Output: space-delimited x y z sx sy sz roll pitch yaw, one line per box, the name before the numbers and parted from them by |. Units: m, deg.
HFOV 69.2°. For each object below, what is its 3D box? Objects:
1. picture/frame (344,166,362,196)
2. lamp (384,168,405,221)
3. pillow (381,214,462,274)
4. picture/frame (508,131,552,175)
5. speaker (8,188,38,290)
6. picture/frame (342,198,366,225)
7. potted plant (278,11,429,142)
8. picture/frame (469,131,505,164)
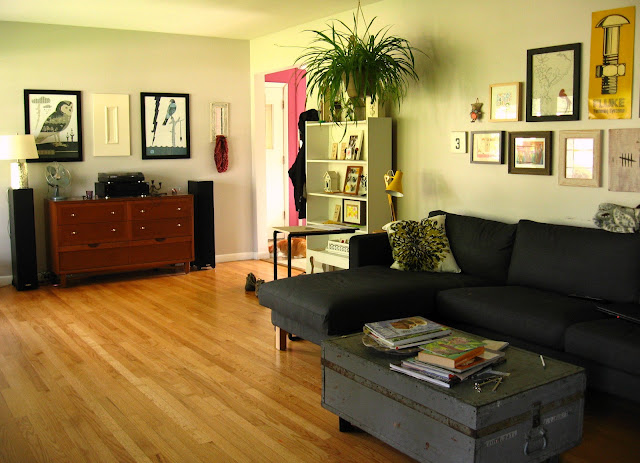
picture/frame | 0.369 -0.575 5.274 0.044 0.406 0.321 3 6 -32
lamp | 0.757 -0.367 4.861 0.211 0.556 0.693 1 10 9
pillow | 0.924 0.139 4.261 0.544 0.478 0.155 -4 -15 11
picture/frame | 1.839 -0.690 4.050 0.043 0.387 0.413 -4 7 -38
speaker | -3.601 0.075 5.594 0.329 1.204 0.367 -7 12 -31
picture/frame | 0.377 -0.232 5.137 0.105 0.244 0.313 2 1 -31
potted plant | 0.406 -1.693 5.169 1.445 0.935 1.333 -7 14 -25
picture/frame | 1.574 -0.793 4.348 0.061 0.316 0.353 -1 3 -39
